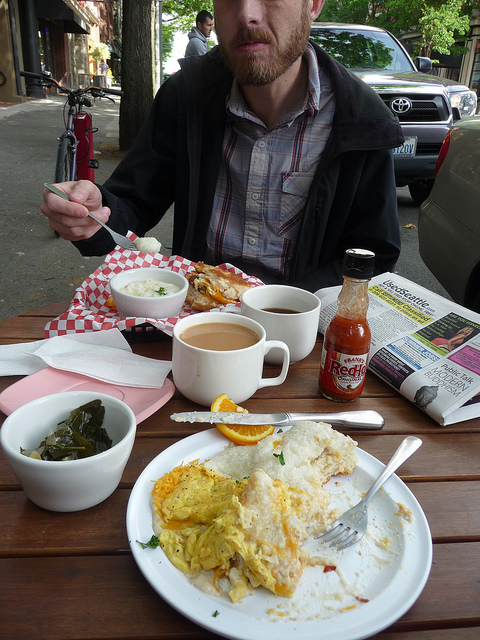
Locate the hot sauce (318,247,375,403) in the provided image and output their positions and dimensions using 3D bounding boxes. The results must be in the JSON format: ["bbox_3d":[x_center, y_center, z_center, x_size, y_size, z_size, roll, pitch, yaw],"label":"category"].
[{"bbox_3d":[0.277,0.021,1.250,0.122,0.402,0.123,12,32,18],"label":"hot sauce"}]

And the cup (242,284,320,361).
[{"bbox_3d":[0.096,-0.027,1.493,0.174,0.170,0.268,-13,26,-30],"label":"cup"}]

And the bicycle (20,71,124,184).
[{"bbox_3d":[-2.260,-2.448,6.627,1.155,1.310,2.055,7,16,-15],"label":"bicycle"}]

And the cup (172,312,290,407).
[{"bbox_3d":[-0.025,0.113,1.271,0.291,0.183,0.217,9,26,11],"label":"cup"}]
